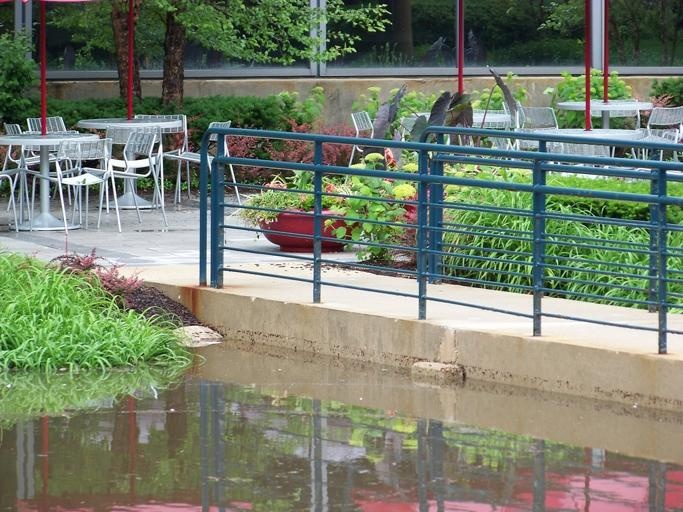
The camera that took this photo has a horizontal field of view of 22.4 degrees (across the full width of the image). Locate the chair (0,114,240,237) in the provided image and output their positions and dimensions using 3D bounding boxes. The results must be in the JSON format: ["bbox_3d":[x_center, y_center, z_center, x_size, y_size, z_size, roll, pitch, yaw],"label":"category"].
[{"bbox_3d":[-2.826,-0.948,19.097,1.346,1.125,2.696,1,8,24],"label":"chair"}]
